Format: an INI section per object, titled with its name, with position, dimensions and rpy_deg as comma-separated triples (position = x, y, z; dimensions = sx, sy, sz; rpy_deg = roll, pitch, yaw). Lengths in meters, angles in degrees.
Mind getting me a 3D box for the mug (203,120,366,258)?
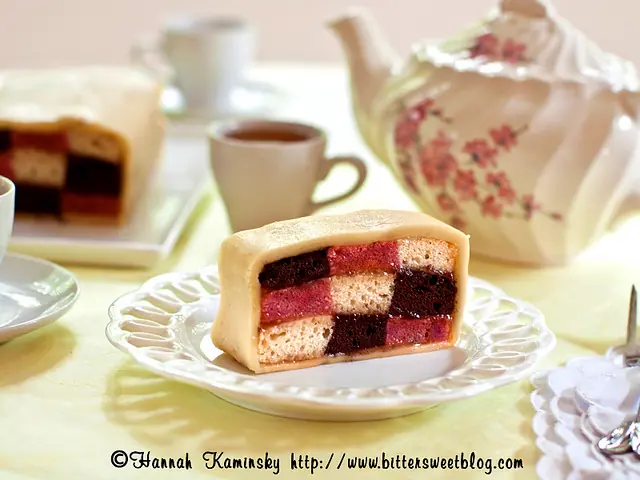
[mug]
position = -0.068, -0.116, 1.144
dimensions = 0.264, 0.167, 0.197
rpy_deg = 1, 15, -1
